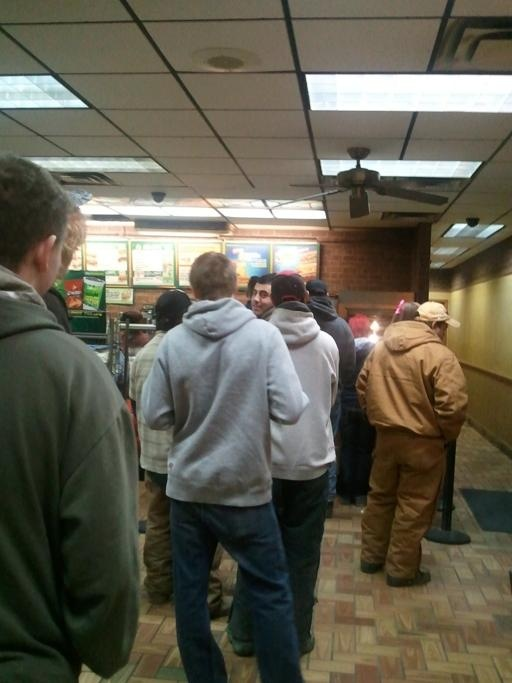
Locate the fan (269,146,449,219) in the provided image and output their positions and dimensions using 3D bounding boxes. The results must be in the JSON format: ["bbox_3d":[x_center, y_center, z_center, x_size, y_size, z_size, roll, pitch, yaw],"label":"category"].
[{"bbox_3d":[1.075,-1.218,4.313,0.832,0.331,0.828,5,-8,-20],"label":"fan"}]

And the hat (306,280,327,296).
[{"bbox_3d":[0.409,-0.390,3.695,0.140,0.135,0.221,0,8,4],"label":"hat"}]

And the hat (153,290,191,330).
[{"bbox_3d":[-0.380,-0.149,2.410,0.147,0.187,0.272,2,0,-9],"label":"hat"}]

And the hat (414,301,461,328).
[{"bbox_3d":[1.142,-0.172,3.245,0.260,0.147,0.164,3,7,-20],"label":"hat"}]

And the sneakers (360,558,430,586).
[{"bbox_3d":[0.787,1.310,2.967,0.380,0.164,0.131,-3,5,-1],"label":"sneakers"}]

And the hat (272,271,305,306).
[{"bbox_3d":[0.142,-0.230,2.326,0.161,0.147,0.179,2,0,4],"label":"hat"}]

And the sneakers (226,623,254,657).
[{"bbox_3d":[-0.067,1.256,2.226,0.068,0.116,0.113,-3,13,-2],"label":"sneakers"}]

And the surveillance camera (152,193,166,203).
[{"bbox_3d":[-1.069,-1.597,5.788,0.108,0.086,0.110,-2,-9,1],"label":"surveillance camera"}]

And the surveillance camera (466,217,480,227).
[{"bbox_3d":[2.561,-1.431,6.250,0.116,0.029,0.113,4,-6,-5],"label":"surveillance camera"}]
